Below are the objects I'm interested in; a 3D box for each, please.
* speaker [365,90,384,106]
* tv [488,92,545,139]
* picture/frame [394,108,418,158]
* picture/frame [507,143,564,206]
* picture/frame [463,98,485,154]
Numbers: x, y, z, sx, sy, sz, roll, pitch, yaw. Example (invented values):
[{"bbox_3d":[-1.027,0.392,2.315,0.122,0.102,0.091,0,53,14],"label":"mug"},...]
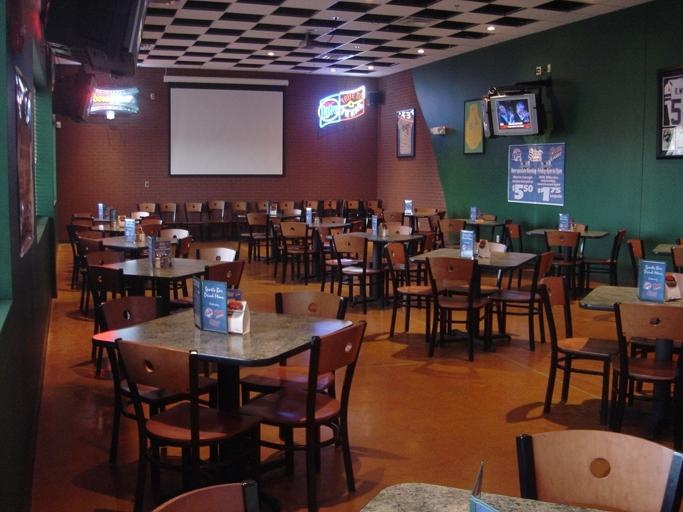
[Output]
[{"bbox_3d":[0.821,-3.941,14.351,0.436,0.340,0.367,-1,7,2],"label":"speaker"},{"bbox_3d":[3.013,-2.455,9.915,0.390,0.686,0.756,-13,13,-41],"label":"tv"},{"bbox_3d":[1.528,-2.912,13.773,0.134,1.136,0.854,-4,7,-19],"label":"picture/frame"},{"bbox_3d":[3.469,-1.456,10.245,0.056,1.098,1.118,-5,8,-33],"label":"picture/frame"},{"bbox_3d":[2.641,-2.585,11.584,0.124,1.085,0.656,-4,7,-17],"label":"picture/frame"}]
